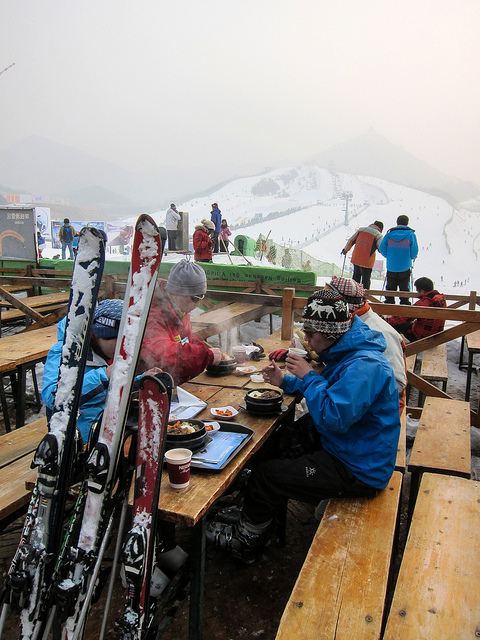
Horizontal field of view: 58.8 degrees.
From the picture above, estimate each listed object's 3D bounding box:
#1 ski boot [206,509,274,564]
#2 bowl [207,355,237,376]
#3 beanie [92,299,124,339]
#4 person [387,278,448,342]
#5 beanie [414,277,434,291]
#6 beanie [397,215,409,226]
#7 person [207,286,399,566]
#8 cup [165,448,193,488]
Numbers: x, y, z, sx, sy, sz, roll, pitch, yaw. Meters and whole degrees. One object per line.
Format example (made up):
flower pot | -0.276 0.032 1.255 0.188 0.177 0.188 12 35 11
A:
ski boot | -0.050 1.122 2.245 0.354 0.326 0.125 27 26 9
bowl | -0.136 0.316 2.947 0.159 0.088 0.172 -1 -6 0
beanie | -0.633 -0.007 1.984 0.112 0.120 0.157 -13 -21 -20
person | 2.622 -0.111 5.968 0.422 0.915 0.567 -18 11 -31
beanie | 2.649 -0.538 6.152 0.183 0.232 0.241 -1 11 8
beanie | 3.250 -2.025 8.526 0.178 0.198 0.257 6 10 12
person | 0.373 0.588 2.294 0.944 1.365 0.728 6 3 10
cup | -0.230 0.544 1.550 0.112 0.097 0.121 0 -3 0
